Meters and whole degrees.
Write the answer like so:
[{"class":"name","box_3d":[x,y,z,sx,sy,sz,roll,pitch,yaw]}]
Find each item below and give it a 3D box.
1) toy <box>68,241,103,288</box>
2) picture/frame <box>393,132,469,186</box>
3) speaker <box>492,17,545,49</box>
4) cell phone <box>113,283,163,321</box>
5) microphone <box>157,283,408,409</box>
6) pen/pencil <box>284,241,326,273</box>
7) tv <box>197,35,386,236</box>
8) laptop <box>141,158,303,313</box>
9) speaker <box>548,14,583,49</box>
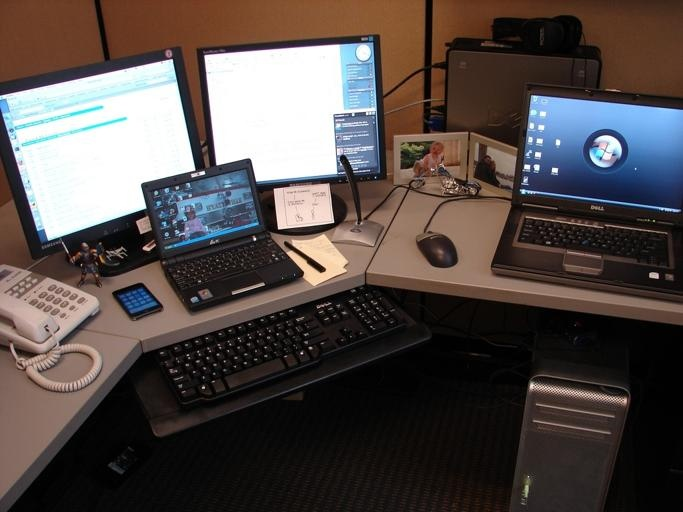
[{"class":"toy","box_3d":[-0.724,0.027,1.568,0.108,0.151,0.060,-9,53,-10]},{"class":"picture/frame","box_3d":[0.304,-0.327,1.873,0.216,0.142,0.010,0,22,4]},{"class":"speaker","box_3d":[0.577,-0.718,1.847,0.123,0.075,0.160,3,15,-45]},{"class":"cell phone","box_3d":[-0.548,0.127,1.495,0.084,0.014,0.136,-20,44,-29]},{"class":"microphone","box_3d":[-0.171,0.350,1.571,0.637,0.082,0.237,-19,50,-18]},{"class":"pen/pencil","box_3d":[-0.106,0.006,1.615,0.020,0.016,0.139,-34,50,-28]},{"class":"tv","box_3d":[-0.154,-0.362,1.693,0.578,0.516,0.291,-6,21,-2]},{"class":"laptop","box_3d":[-0.359,-0.059,1.649,0.441,0.305,0.449,-19,44,-24]},{"class":"speaker","box_3d":[0.722,-0.731,1.807,0.094,0.107,0.120,19,-5,28]}]
